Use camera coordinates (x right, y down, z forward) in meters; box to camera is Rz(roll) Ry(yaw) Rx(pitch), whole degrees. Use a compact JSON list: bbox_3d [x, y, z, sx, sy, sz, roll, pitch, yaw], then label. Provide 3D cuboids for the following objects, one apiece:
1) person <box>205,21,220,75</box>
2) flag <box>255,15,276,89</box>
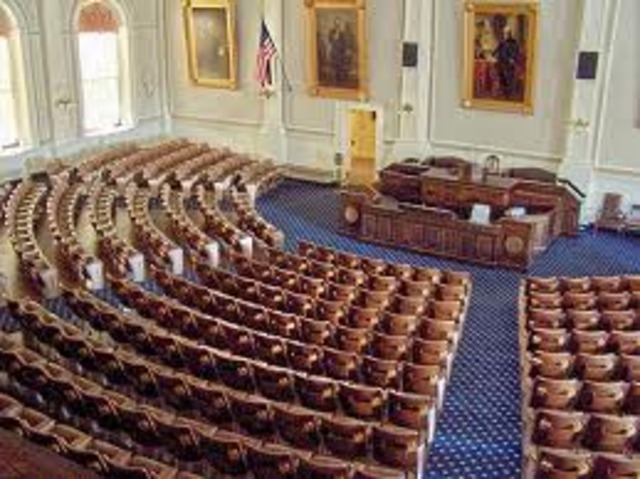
[{"bbox_3d":[-3.566,-6.438,16.600,0.295,1.604,0.169,3,24,16],"label":"person"},{"bbox_3d":[-1.647,-5.764,15.326,0.602,2.100,1.225,-2,17,-5],"label":"flag"}]
